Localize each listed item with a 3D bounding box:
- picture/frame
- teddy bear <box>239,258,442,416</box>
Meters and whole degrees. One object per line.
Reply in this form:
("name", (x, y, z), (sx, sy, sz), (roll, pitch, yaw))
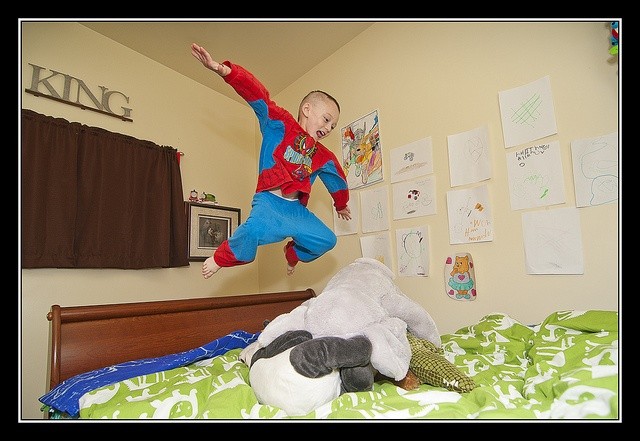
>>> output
("picture/frame", (-0.988, 0.115, 3.702), (0.037, 0.515, 0.621), (-4, -7, 33))
("teddy bear", (0.127, 0.459, 1.782), (0.856, 0.577, 0.498), (2, -8, -34))
